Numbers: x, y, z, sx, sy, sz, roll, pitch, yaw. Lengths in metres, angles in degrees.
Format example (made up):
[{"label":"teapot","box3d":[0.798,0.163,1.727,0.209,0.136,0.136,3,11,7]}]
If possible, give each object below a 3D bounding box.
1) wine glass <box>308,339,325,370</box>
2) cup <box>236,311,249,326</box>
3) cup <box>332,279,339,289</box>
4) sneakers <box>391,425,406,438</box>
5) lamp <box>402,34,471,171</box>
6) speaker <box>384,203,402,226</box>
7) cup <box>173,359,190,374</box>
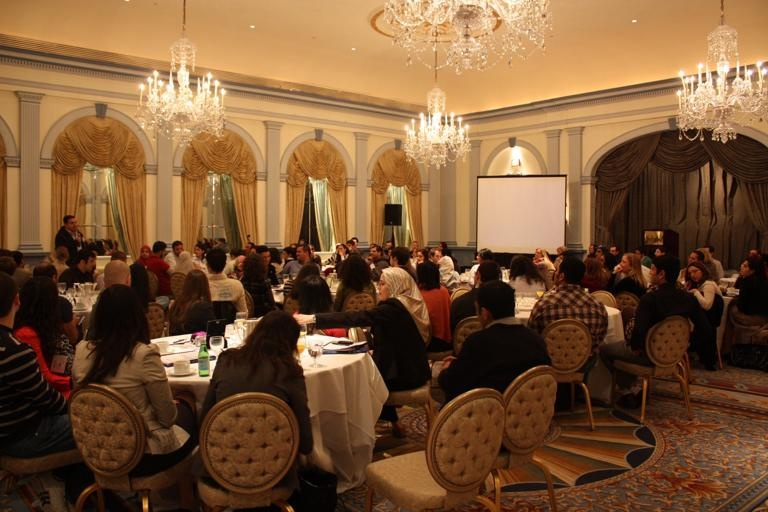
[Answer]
[{"label":"wine glass","box3d":[-0.576,0.832,4.492,0.158,0.246,0.164,0,1,-9]},{"label":"cup","box3d":[-1.271,0.563,4.791,0.125,0.147,0.124,1,-4,0]},{"label":"cup","box3d":[-0.786,0.447,8.539,0.121,0.144,0.128,3,-13,1]},{"label":"sneakers","box3d":[0.150,1.819,5.499,0.087,0.153,0.079,-18,25,32]},{"label":"lamp","box3d":[1.112,-3.398,11.266,0.919,2.079,0.928,-12,19,-29]},{"label":"speaker","box3d":[0.239,-1.111,14.507,0.534,0.638,0.464,0,-1,2]},{"label":"cup","box3d":[-1.607,0.881,4.219,0.091,0.079,0.104,-1,-10,9]}]
